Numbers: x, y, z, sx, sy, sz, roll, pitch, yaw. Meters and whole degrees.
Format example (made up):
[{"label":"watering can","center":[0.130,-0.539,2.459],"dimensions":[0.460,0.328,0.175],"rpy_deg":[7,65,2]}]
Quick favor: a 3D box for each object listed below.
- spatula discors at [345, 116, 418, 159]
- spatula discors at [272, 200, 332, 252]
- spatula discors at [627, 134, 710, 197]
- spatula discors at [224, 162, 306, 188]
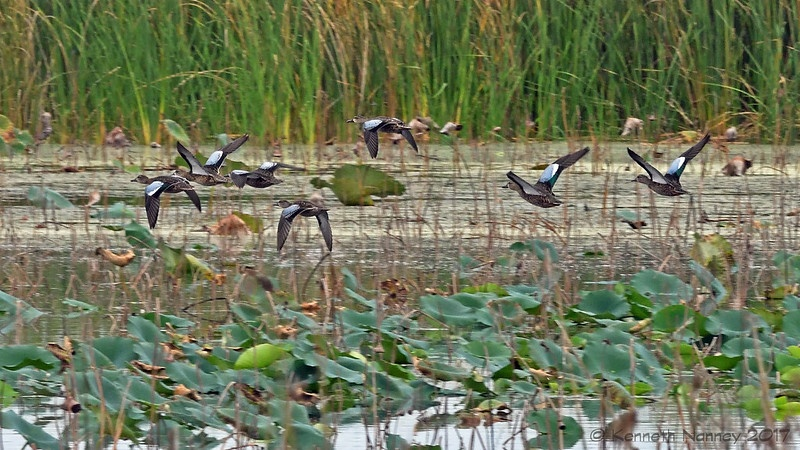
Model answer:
[{"label":"spatula discors","center":[-0.111,-0.612,7.716],"dimensions":[0.484,0.165,0.340],"rpy_deg":[-1,29,7]},{"label":"spatula discors","center":[-0.570,-0.001,6.927],"dimensions":[0.311,0.357,0.492],"rpy_deg":[-8,18,-6]},{"label":"spatula discors","center":[1.586,-0.276,7.262],"dimensions":[0.373,0.190,0.624],"rpy_deg":[6,2,34]},{"label":"spatula discors","center":[-0.904,-0.282,7.341],"dimensions":[0.236,0.057,0.277],"rpy_deg":[-12,5,44]}]
